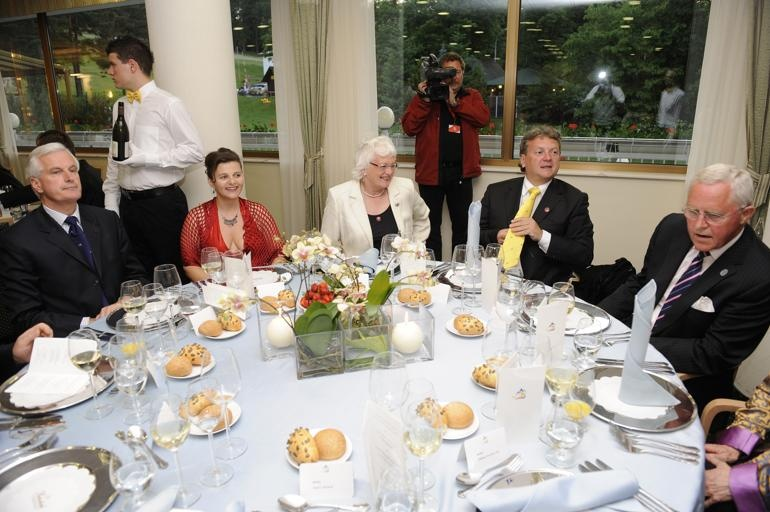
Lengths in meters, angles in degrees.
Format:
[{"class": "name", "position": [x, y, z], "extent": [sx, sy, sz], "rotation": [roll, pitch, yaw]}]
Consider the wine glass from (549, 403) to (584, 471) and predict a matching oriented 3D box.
[{"class": "wine glass", "position": [0.660, 0.641, 1.828], "extent": [0.114, 0.208, 0.155], "rotation": [9, 23, 25]}]

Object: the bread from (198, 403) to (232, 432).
[{"class": "bread", "position": [-0.640, 0.583, 1.862], "extent": [0.118, 0.085, 0.116], "rotation": [-11, -13, 39]}]

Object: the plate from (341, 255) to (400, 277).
[{"class": "plate", "position": [-0.068, 0.030, 2.791], "extent": [0.182, 0.064, 0.184], "rotation": [-6, 17, -27]}]

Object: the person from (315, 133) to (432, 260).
[{"class": "person", "position": [-0.044, -0.505, 3.909], "extent": [1.060, 1.233, 0.607], "rotation": [-10, 21, -28]}]

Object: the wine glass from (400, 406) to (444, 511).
[{"class": "wine glass", "position": [0.128, 0.659, 1.683], "extent": [0.122, 0.364, 0.243], "rotation": [2, 21, 9]}]

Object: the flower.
[{"class": "flower", "position": [-0.248, 0.244, 2.429], "extent": [0.804, 0.910, 0.543], "rotation": [1, -2, -22]}]

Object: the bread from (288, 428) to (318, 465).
[{"class": "bread", "position": [-0.299, 0.688, 1.799], "extent": [0.078, 0.044, 0.125], "rotation": [-22, 50, -5]}]

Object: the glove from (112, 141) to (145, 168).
[{"class": "glove", "position": [-1.979, -0.786, 3.839], "extent": [0.198, 0.283, 0.102], "rotation": [-17, -19, -10]}]

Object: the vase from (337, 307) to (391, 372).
[{"class": "vase", "position": [-0.096, 0.356, 2.377], "extent": [0.249, 0.372, 0.259], "rotation": [-1, 6, -5]}]

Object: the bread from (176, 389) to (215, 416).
[{"class": "bread", "position": [-0.674, 0.522, 1.778], "extent": [0.086, 0.046, 0.088], "rotation": [-12, 12, -14]}]

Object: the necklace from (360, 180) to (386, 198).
[{"class": "necklace", "position": [-0.093, -0.482, 3.624], "extent": [0.143, 0.108, 0.142], "rotation": [0, 7, 12]}]

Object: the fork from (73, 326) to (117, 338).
[{"class": "fork", "position": [-1.341, 0.351, 2.312], "extent": [0.153, 0.017, 0.041], "rotation": [5, 11, 39]}]

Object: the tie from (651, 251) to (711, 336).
[{"class": "tie", "position": [1.616, 0.212, 2.693], "extent": [0.057, 0.517, 0.072], "rotation": [40, -3, -42]}]

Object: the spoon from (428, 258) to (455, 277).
[{"class": "spoon", "position": [0.342, 0.070, 3.027], "extent": [0.079, 0.034, 0.283], "rotation": [12, 11, 13]}]

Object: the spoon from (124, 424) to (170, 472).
[{"class": "spoon", "position": [-0.819, 0.664, 1.712], "extent": [0.256, 0.040, 0.061], "rotation": [25, 14, 35]}]

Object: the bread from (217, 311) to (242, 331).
[{"class": "bread", "position": [-0.769, 0.320, 2.467], "extent": [0.112, 0.046, 0.081], "rotation": [40, 38, 18]}]

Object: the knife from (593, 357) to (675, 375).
[{"class": "knife", "position": [1.075, 0.480, 2.165], "extent": [0.348, 0.017, 0.095], "rotation": [3, 40, 6]}]

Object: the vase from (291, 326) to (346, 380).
[{"class": "vase", "position": [-0.285, 0.406, 2.168], "extent": [0.198, 0.210, 0.206], "rotation": [0, -1, -6]}]

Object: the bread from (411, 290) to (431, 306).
[{"class": "bread", "position": [0.194, 0.221, 2.648], "extent": [0.068, 0.035, 0.094], "rotation": [4, 12, 7]}]

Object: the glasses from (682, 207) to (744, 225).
[{"class": "glasses", "position": [1.720, -0.217, 2.577], "extent": [0.275, 0.102, 0.103], "rotation": [10, 23, 26]}]

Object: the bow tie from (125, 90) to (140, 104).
[{"class": "bow tie", "position": [-1.942, -1.229, 3.831], "extent": [0.094, 0.100, 0.036], "rotation": [7, 20, 12]}]

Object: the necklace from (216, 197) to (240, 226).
[{"class": "necklace", "position": [-1.092, -0.314, 3.484], "extent": [0.099, 0.192, 0.050], "rotation": [5, 1, -15]}]

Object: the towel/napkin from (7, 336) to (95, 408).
[{"class": "towel/napkin", "position": [-1.406, 0.508, 2.152], "extent": [0.298, 0.125, 0.289], "rotation": [3, 50, -13]}]

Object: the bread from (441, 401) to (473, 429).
[{"class": "bread", "position": [0.283, 0.601, 1.917], "extent": [0.093, 0.056, 0.093], "rotation": [16, 27, 40]}]

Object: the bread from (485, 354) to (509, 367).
[{"class": "bread", "position": [0.474, 0.436, 2.090], "extent": [0.063, 0.018, 0.065], "rotation": [-5, 3, -7]}]

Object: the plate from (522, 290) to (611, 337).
[{"class": "plate", "position": [0.921, 0.291, 2.503], "extent": [0.293, 0.032, 0.297], "rotation": [9, 16, 42]}]
